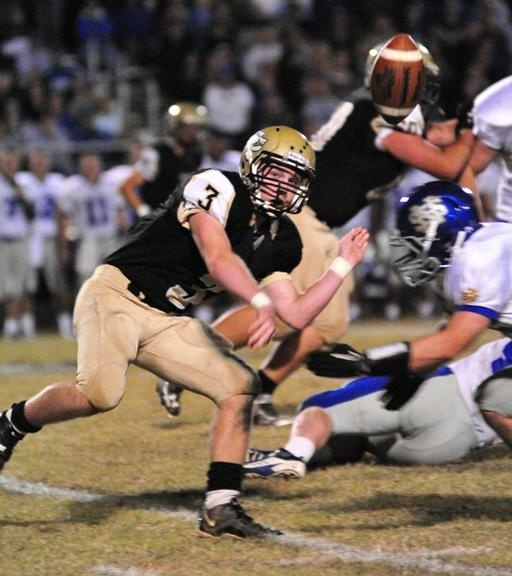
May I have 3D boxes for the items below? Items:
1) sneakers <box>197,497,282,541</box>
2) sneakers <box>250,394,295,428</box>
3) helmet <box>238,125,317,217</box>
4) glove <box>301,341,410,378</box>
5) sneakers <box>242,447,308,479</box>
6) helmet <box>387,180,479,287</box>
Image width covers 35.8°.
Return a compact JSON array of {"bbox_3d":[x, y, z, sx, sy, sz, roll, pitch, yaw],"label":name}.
[{"bbox_3d":[-0.034,0.718,2.476,0.291,0.099,0.088,-6,-15,24],"label":"sneakers"},{"bbox_3d":[0.087,0.629,4.046,0.214,0.163,0.160,13,23,2],"label":"sneakers"},{"bbox_3d":[0.063,-0.432,2.825,0.253,0.240,0.289,16,8,-35],"label":"helmet"},{"bbox_3d":[0.330,0.245,2.677,0.312,0.082,0.130,-4,-14,9],"label":"glove"},{"bbox_3d":[0.014,0.632,2.876,0.317,0.097,0.095,3,-11,14],"label":"sneakers"},{"bbox_3d":[0.666,-0.216,2.955,0.450,0.313,0.306,-8,1,17],"label":"helmet"}]
